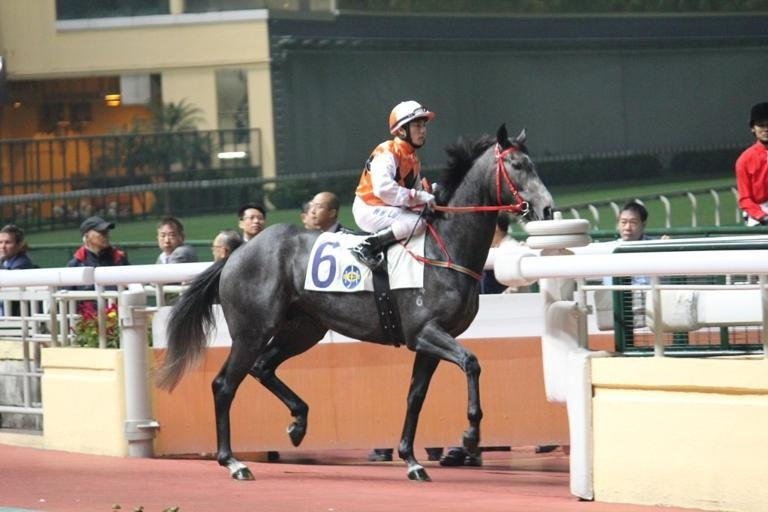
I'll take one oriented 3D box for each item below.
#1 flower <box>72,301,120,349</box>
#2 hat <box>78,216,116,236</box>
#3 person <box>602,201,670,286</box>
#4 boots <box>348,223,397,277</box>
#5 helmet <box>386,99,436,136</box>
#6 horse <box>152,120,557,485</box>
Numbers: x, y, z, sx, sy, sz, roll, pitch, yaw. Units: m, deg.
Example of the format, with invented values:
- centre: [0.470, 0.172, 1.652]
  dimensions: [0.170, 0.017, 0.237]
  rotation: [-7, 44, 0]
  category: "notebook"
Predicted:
- centre: [-3.285, 0.783, 20.914]
  dimensions: [0.621, 0.485, 0.299]
  rotation: [-2, 3, 7]
  category: "flower"
- centre: [-3.555, -0.379, 22.416]
  dimensions: [0.474, 0.205, 0.302]
  rotation: [-6, 1, 5]
  category: "hat"
- centre: [2.895, -0.191, 21.077]
  dimensions: [0.654, 0.868, 2.103]
  rotation: [-2, 3, 9]
  category: "person"
- centre: [-0.045, -0.059, 20.132]
  dimensions: [0.322, 0.659, 0.710]
  rotation: [-6, -1, -32]
  category: "boots"
- centre: [0.273, -1.587, 20.392]
  dimensions: [0.437, 0.292, 0.572]
  rotation: [-25, 7, -41]
  category: "helmet"
- centre: [-0.304, 0.723, 20.433]
  dimensions: [5.270, 3.671, 1.023]
  rotation: [-3, -10, 31]
  category: "horse"
